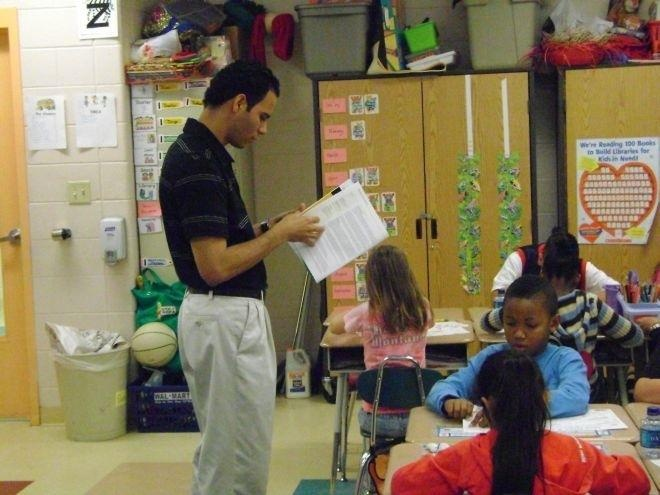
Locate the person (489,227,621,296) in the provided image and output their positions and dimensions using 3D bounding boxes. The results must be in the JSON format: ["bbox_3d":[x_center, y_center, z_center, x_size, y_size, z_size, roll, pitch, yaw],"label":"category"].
[{"bbox_3d":[1.402,0.072,4.109,0.471,0.253,0.796,-2,-35,11],"label":"person"}]

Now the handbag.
[{"bbox_3d":[-1.258,0.538,4.968,0.505,0.680,0.204,6,-14,-9],"label":"handbag"}]

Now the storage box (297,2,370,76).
[{"bbox_3d":[0.036,-1.533,4.976,0.425,0.382,0.510,0,6,3],"label":"storage box"}]

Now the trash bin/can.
[{"bbox_3d":[-1.637,0.986,4.848,0.564,0.622,0.554,0,-2,-45],"label":"trash bin/can"}]

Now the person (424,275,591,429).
[{"bbox_3d":[0.769,0.513,2.805,0.638,0.759,0.710,0,8,29],"label":"person"}]

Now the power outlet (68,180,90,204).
[{"bbox_3d":[-1.789,-0.406,4.823,0.154,0.161,0.024,2,-1,-7],"label":"power outlet"}]

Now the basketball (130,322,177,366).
[{"bbox_3d":[-1.197,0.669,4.799,0.284,0.343,0.299,1,2,5],"label":"basketball"}]

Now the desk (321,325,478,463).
[{"bbox_3d":[0.399,0.888,4.080,0.897,0.872,0.829,-1,7,2],"label":"desk"}]
